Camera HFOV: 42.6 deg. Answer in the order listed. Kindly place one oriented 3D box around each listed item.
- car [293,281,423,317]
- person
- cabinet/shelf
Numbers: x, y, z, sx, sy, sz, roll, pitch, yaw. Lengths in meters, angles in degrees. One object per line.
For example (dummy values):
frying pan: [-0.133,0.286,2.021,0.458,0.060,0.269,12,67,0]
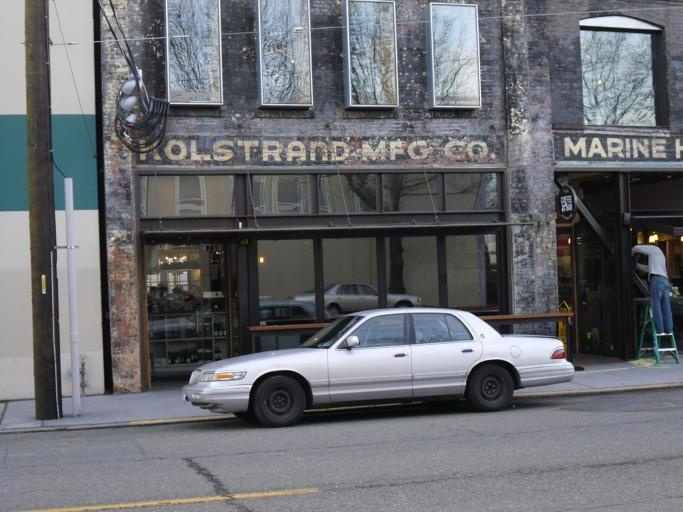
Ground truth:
car: [0.369,0.750,20.163,2.293,0.702,1.052,-2,0,-13]
person: [7.382,0.759,20.751,0.715,1.557,0.910,-4,-2,18]
cabinet/shelf: [-3.533,1.864,19.606,1.382,1.315,0.454,-1,0,-13]
